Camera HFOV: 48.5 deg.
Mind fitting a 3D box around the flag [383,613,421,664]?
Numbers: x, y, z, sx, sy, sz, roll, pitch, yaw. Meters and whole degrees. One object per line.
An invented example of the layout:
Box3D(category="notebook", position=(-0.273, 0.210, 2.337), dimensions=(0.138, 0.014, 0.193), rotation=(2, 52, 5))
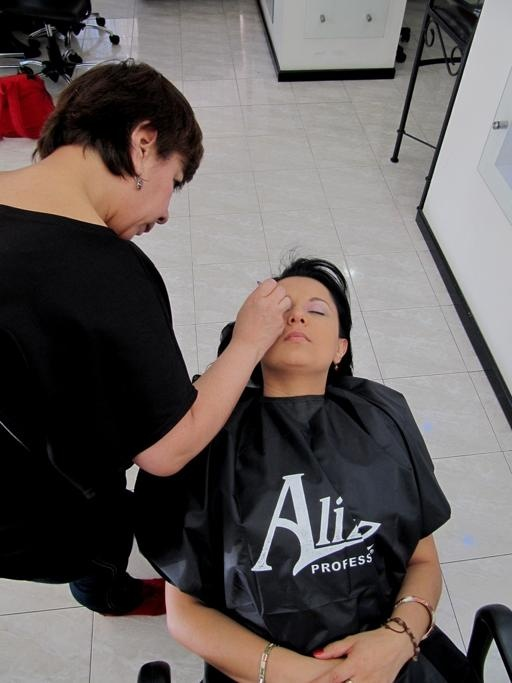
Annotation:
Box3D(category="flag", position=(0.259, 0.531, 1.010), dimensions=(0.079, 0.087, 0.032), rotation=(28, 52, 18))

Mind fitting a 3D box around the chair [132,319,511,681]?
Box3D(category="chair", position=(0.161, 0.178, 1.292), dimensions=(0.920, 0.490, 0.793), rotation=(-6, 87, -24))
